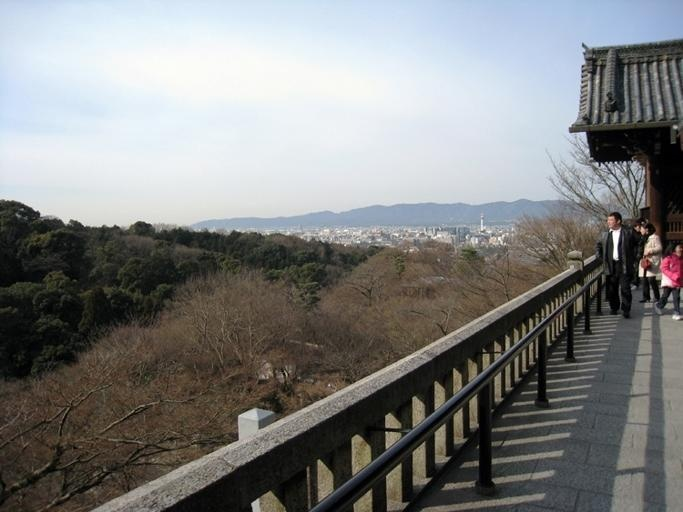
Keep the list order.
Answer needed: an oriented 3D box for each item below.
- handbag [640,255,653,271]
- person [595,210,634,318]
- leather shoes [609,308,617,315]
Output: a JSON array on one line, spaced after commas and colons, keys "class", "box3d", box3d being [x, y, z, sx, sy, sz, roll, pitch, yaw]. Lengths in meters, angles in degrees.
[{"class": "handbag", "box3d": [5.407, 0.118, 9.146, 0.103, 0.301, 0.199, -19, 14, -18]}, {"class": "person", "box3d": [4.343, 0.142, 8.201, 0.502, 1.635, 0.807, 0, -3, 28]}, {"class": "leather shoes", "box3d": [4.471, 0.906, 8.455, 0.120, 0.128, 0.062, -5, 0, -8]}]
